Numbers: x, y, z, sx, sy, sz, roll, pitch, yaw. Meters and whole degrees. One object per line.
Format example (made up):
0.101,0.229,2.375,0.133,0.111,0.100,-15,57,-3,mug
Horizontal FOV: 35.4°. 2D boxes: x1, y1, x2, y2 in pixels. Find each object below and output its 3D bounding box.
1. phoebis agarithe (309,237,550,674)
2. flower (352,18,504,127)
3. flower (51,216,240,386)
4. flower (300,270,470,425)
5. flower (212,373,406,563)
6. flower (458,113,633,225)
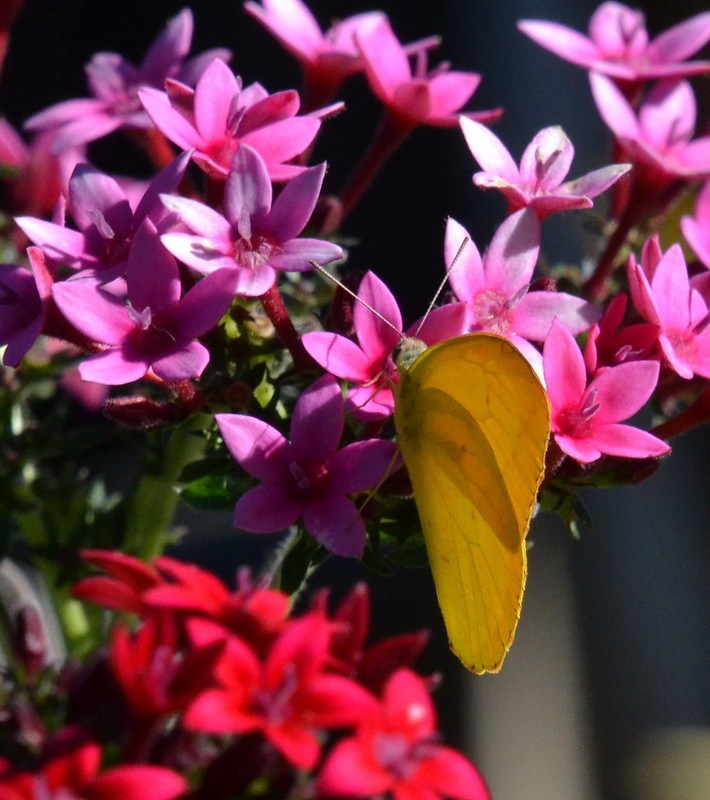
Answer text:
0.092,0.045,0.974,0.183,0.424,0.176,-1,28,27,phoebis agarithe
0.065,-0.343,1.134,0.121,0.119,0.161,1,14,3,flower
-0.172,-0.070,0.874,0.137,0.143,0.051,-12,-12,2,flower
0.036,-0.045,1.022,0.135,0.134,0.086,-40,-7,2,flower
-0.041,0.068,0.943,0.162,0.052,0.171,30,60,15,flower
0.169,-0.211,1.010,0.142,0.097,0.115,-2,14,-8,flower
